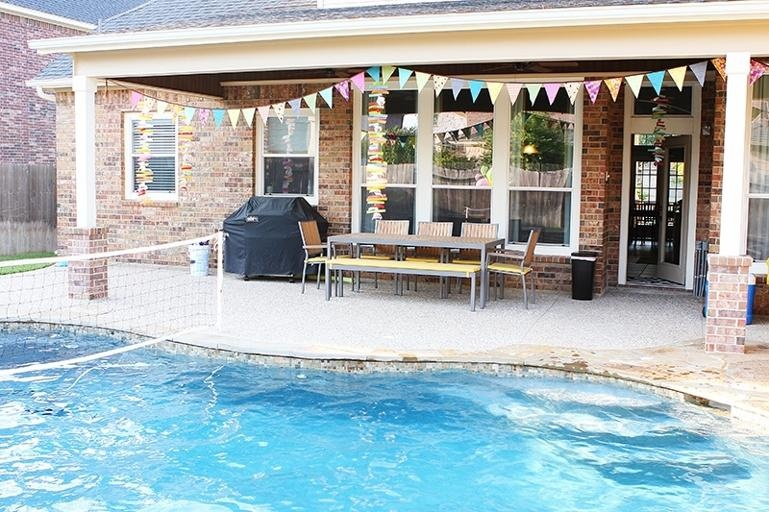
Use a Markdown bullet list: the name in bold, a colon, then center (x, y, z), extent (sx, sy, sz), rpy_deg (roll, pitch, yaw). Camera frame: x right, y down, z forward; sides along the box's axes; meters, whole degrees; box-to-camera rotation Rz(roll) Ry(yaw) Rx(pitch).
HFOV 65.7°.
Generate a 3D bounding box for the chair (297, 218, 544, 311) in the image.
- **chair**: center (0.598, 0.099, 10.902), extent (4.310, 1.435, 2.530), rpy_deg (1, 2, 15)

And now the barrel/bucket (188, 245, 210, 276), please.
- **barrel/bucket**: center (-3.970, 0.082, 12.777), extent (0.387, 0.680, 0.468), rpy_deg (-1, 2, -18)

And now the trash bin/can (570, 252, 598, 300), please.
- **trash bin/can**: center (3.597, 0.353, 10.696), extent (0.475, 0.860, 0.308), rpy_deg (0, 2, 0)
